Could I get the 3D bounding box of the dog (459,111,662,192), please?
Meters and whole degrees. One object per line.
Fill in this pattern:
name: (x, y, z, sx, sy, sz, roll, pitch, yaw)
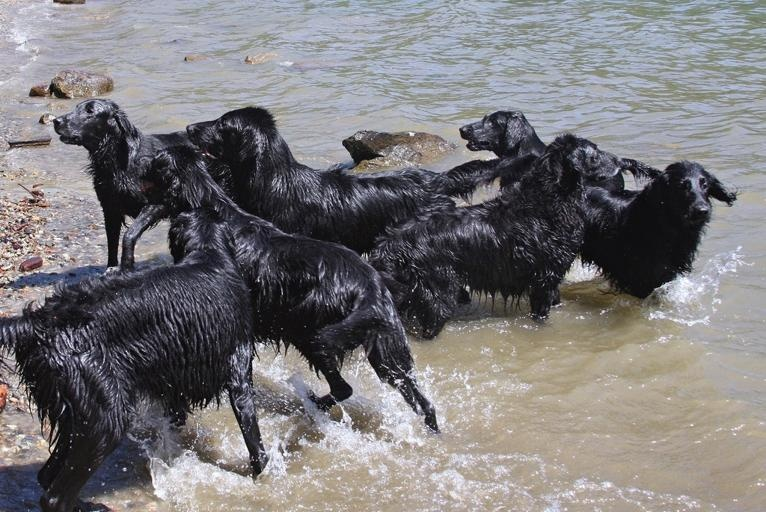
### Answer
dog: (2.505, -1.164, 13.170, 2.988, 1.164, 0.631, 7, -6, -20)
